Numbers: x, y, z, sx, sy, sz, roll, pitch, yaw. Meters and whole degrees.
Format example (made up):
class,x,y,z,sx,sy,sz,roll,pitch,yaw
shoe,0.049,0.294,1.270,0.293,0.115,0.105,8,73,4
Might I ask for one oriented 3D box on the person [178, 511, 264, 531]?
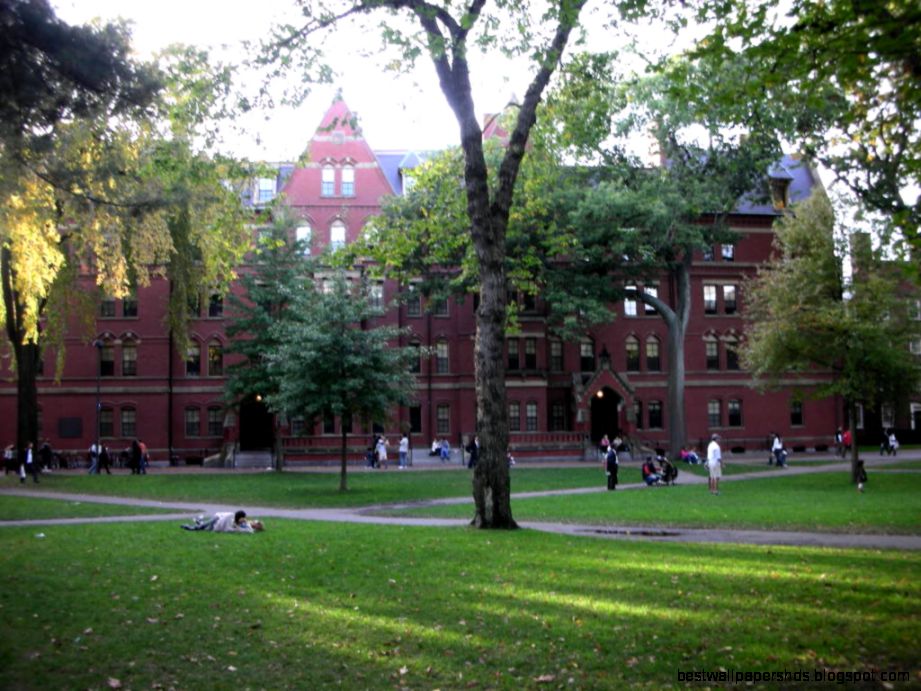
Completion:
class,x,y,z,sx,sy,sz,roll,pitch,yaw
person,-6.039,4.573,26.548,1.622,0.484,0.935,0,-2,3

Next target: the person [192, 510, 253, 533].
class,x,y,z,sx,sy,sz,roll,pitch,yaw
person,-6.136,4.558,26.599,1.423,0.476,0.779,-2,-4,10
